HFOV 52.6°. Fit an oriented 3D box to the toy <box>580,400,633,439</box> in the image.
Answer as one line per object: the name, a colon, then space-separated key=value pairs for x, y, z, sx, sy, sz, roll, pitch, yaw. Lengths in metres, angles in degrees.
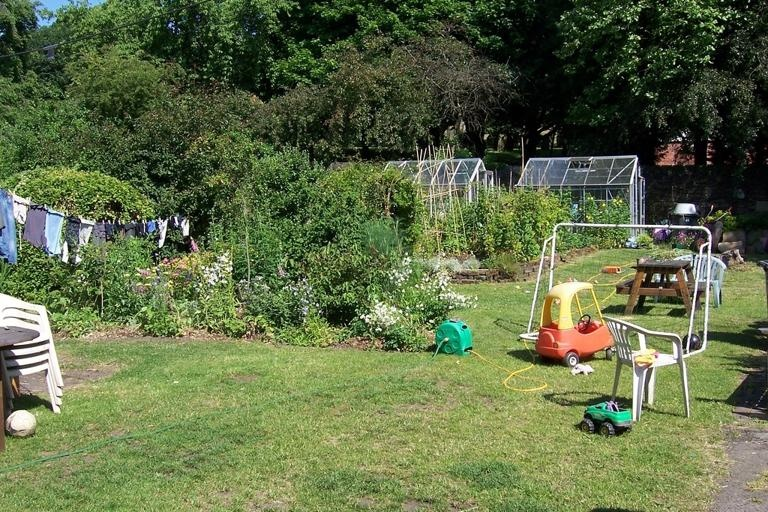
toy: x=3.730 y=2.727 z=13.315 sx=0.666 sy=0.469 sz=0.553 roll=4 pitch=4 yaw=29

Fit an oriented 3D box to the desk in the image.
desk: x=6.502 y=0.626 z=18.569 sx=1.368 sy=1.022 sz=1.568 roll=2 pitch=3 yaw=29

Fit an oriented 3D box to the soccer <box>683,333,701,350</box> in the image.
soccer: x=6.157 y=1.744 z=15.846 sx=0.295 sy=0.313 sz=0.326 roll=0 pitch=16 yaw=-15

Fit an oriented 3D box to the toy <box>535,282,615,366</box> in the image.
toy: x=3.758 y=1.348 z=15.629 sx=1.402 sy=1.670 sz=0.759 roll=0 pitch=2 yaw=-19

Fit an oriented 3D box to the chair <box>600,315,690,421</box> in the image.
chair: x=4.685 y=1.986 z=13.991 sx=1.415 sy=1.721 sz=1.407 roll=-7 pitch=5 yaw=-41

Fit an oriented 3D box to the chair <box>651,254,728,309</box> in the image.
chair: x=7.385 y=0.563 z=19.344 sx=1.462 sy=1.977 sz=1.407 roll=-1 pitch=1 yaw=38
